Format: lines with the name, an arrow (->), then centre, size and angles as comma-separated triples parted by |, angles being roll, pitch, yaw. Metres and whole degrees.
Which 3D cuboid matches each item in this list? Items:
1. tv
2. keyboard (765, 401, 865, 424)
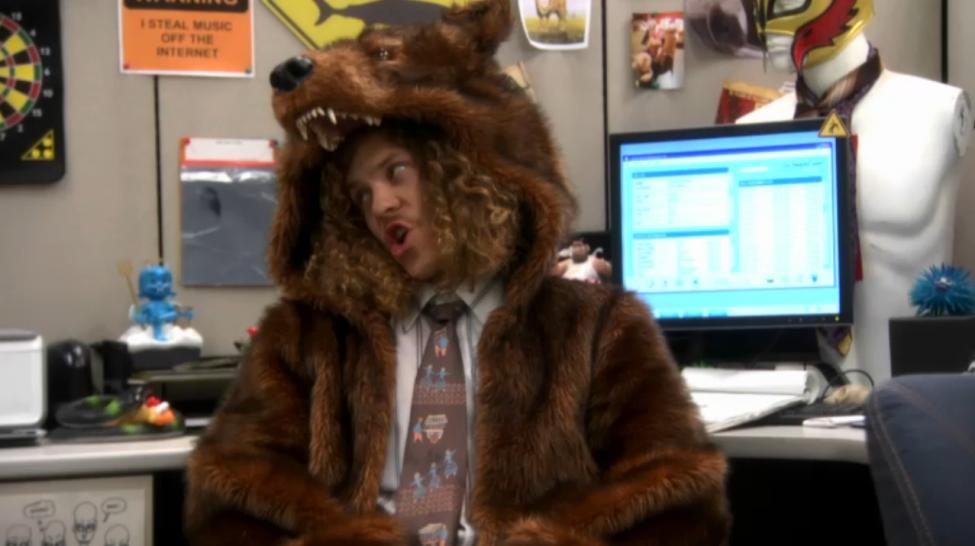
tv -> 0.618, -0.109, 2.171 | 0.531, 0.435, 0.077 | -1, -3, 8
keyboard -> 0.706, 0.304, 1.942 | 0.226, 0.025, 0.078 | -5, 10, 4
